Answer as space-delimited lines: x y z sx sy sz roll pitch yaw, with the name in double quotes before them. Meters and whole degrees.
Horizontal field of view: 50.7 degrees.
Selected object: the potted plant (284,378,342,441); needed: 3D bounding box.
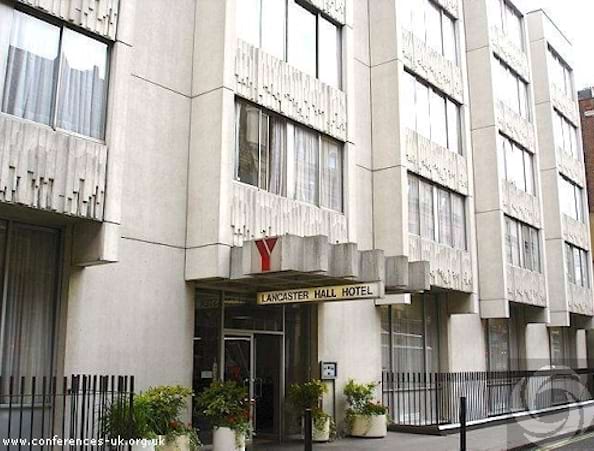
"potted plant" 0.401 5.176 17.793 1.325 1.671 0.896 -1 -14 -1
